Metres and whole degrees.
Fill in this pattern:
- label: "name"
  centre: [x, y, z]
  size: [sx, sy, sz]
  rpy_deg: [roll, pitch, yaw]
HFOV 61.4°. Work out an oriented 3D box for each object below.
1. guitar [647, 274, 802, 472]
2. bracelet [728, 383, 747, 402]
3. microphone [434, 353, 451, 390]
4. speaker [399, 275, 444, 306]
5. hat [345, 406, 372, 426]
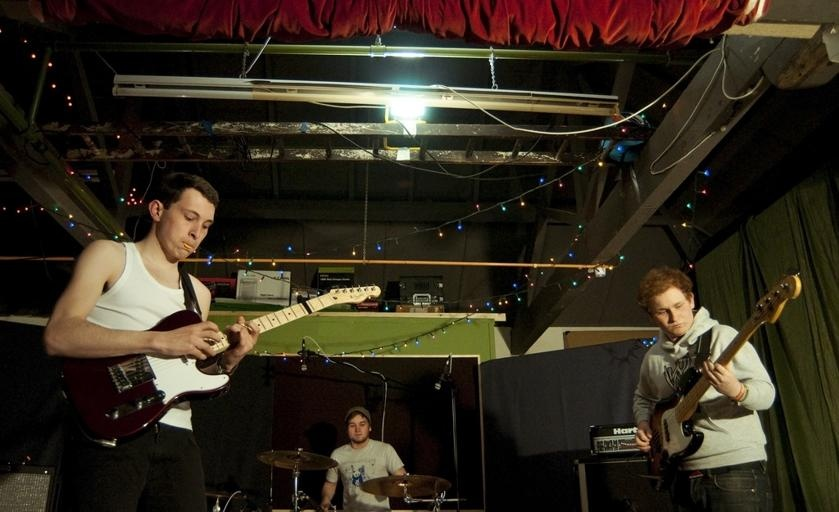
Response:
- label: "guitar"
  centre: [2.371, 0.961, 5.629]
  size: [0.313, 1.264, 1.403]
  rpy_deg: [16, -30, -22]
- label: "bracelet"
  centre: [2.450, 1.050, 5.408]
  size: [0.138, 0.068, 0.119]
  rpy_deg: [-6, -1, 1]
- label: "microphone"
  centre: [0.311, 1.499, 8.963]
  size: [0.160, 0.439, 0.315]
  rpy_deg: [18, 13, -12]
- label: "speaker"
  centre: [0.047, 0.487, 10.133]
  size: [0.645, 0.423, 0.385]
  rpy_deg: [0, -9, 3]
- label: "hat"
  centre: [-0.717, 1.929, 8.553]
  size: [0.377, 0.237, 0.497]
  rpy_deg: [-1, -8, 7]
